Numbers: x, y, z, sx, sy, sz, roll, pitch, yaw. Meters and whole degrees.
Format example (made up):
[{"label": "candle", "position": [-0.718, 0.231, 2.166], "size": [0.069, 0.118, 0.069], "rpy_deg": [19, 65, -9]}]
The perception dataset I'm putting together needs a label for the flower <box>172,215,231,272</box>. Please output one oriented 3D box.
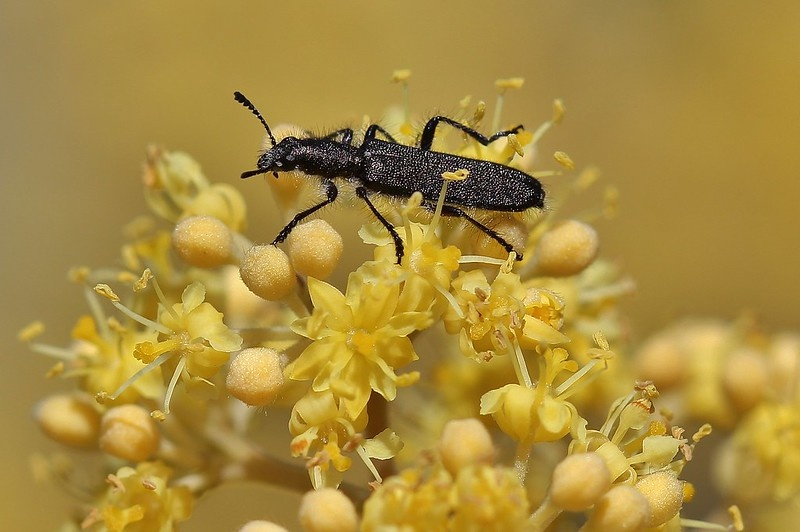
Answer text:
[{"label": "flower", "position": [-1.429, -0.158, 6.164], "size": [0.404, 0.326, 0.312], "rpy_deg": [6, 7, -4]}]
